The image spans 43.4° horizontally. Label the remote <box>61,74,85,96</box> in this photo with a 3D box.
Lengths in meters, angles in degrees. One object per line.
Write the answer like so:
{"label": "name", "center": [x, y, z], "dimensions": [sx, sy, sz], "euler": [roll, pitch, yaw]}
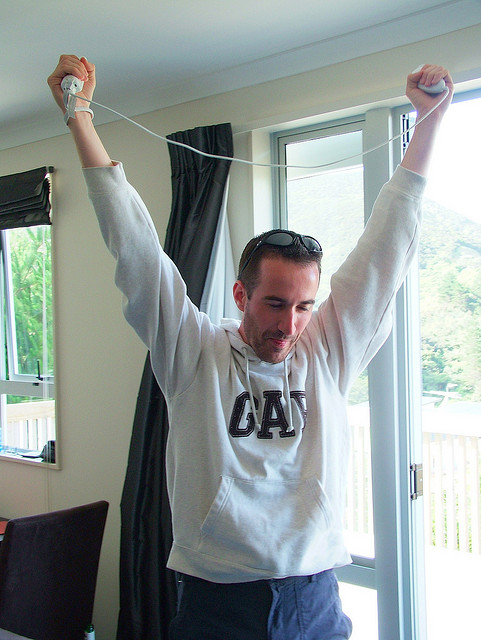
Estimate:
{"label": "remote", "center": [-0.294, -0.409, 1.048], "dimensions": [0.033, 0.043, 0.017], "euler": [9, -5, -12]}

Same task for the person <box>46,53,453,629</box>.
{"label": "person", "center": [0.019, 0.059, 1.216], "dimensions": [0.802, 1.176, 0.258], "euler": [2, -3, -19]}

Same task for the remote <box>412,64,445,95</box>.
{"label": "remote", "center": [0.389, -0.485, 1.244], "dimensions": [0.052, 0.065, 0.018], "euler": [-15, -25, -47]}
